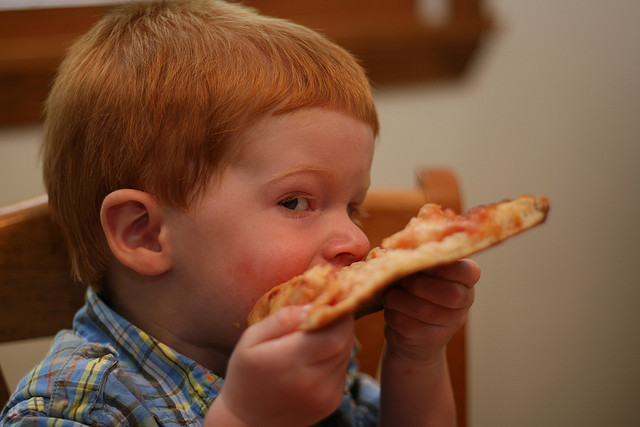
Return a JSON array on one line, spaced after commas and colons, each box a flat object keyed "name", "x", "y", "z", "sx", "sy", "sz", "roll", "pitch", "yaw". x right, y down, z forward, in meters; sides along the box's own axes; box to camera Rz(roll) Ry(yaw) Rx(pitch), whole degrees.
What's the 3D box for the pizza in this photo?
[{"name": "pizza", "x": 0.179, "y": 0.079, "z": 1.251, "sx": 0.476, "sy": 0.100, "sz": 0.293, "roll": -27, "pitch": -2, "yaw": 4}]
